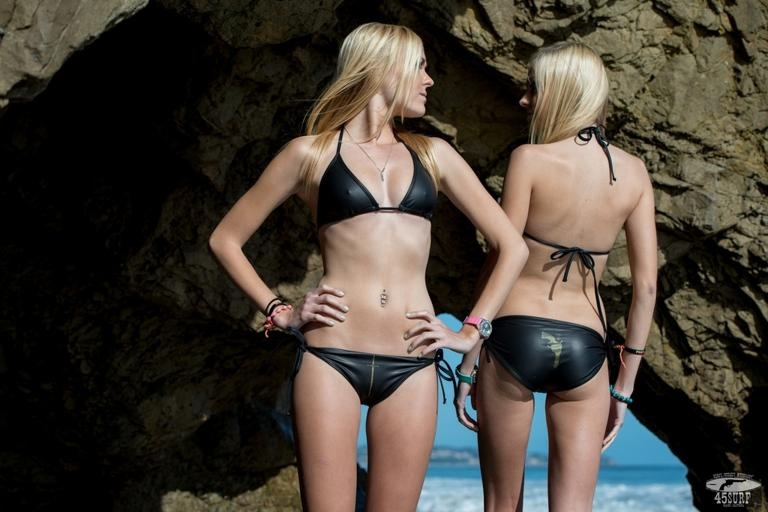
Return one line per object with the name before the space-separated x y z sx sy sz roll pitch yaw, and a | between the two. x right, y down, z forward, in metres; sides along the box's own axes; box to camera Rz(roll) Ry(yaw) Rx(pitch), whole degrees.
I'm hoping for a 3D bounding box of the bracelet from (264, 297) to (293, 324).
bracelet | -0.794 0.356 6.851 0.184 0.208 0.137 2 42 -29
